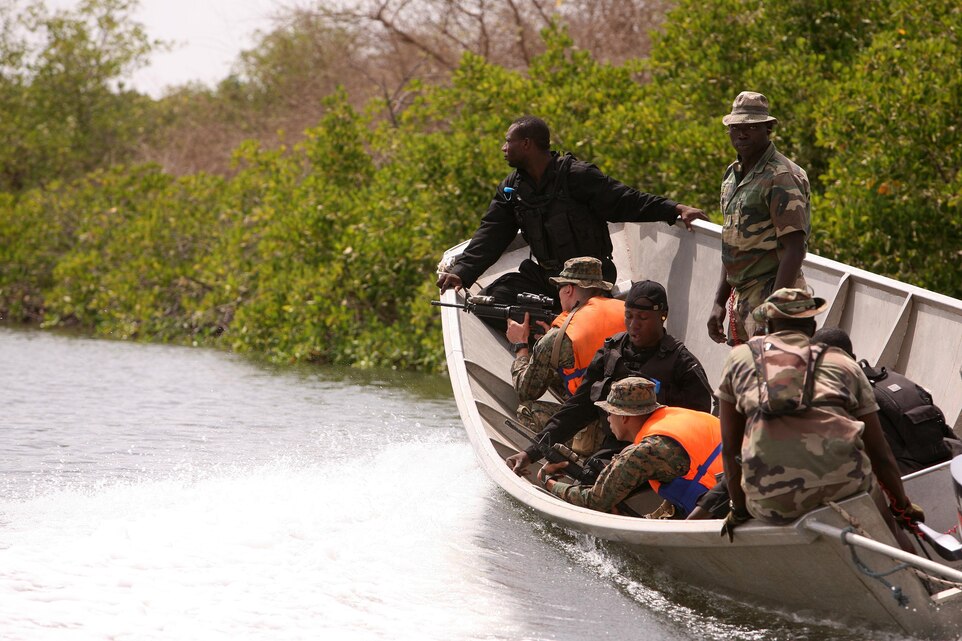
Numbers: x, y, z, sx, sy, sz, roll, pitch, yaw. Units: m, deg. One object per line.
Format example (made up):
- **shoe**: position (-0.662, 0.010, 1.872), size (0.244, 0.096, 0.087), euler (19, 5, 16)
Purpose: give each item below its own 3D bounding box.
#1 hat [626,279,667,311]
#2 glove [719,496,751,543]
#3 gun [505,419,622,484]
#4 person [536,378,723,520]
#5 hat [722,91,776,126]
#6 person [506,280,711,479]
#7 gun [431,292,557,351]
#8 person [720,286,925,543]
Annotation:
- **hat**: position (1.444, -0.221, 10.459), size (0.226, 0.195, 0.323), euler (8, 13, 21)
- **glove**: position (1.930, 1.515, 9.165), size (0.185, 0.319, 0.095), euler (18, 5, 11)
- **gun**: position (0.723, 1.148, 10.708), size (0.186, 0.478, 1.156), euler (25, -34, -27)
- **person**: position (1.267, 1.087, 9.980), size (1.265, 0.622, 0.935), euler (-3, 41, 27)
- **hat**: position (2.282, -1.795, 10.419), size (0.346, 0.188, 0.341), euler (2, 1, 9)
- **person**: position (1.088, 0.461, 10.389), size (2.216, 1.529, 1.044), euler (3, 7, -38)
- **gun**: position (0.280, 0.004, 12.105), size (1.762, 0.198, 0.672), euler (6, 46, 27)
- **person**: position (2.422, 0.905, 9.004), size (1.342, 1.604, 0.318), euler (4, 14, 8)
